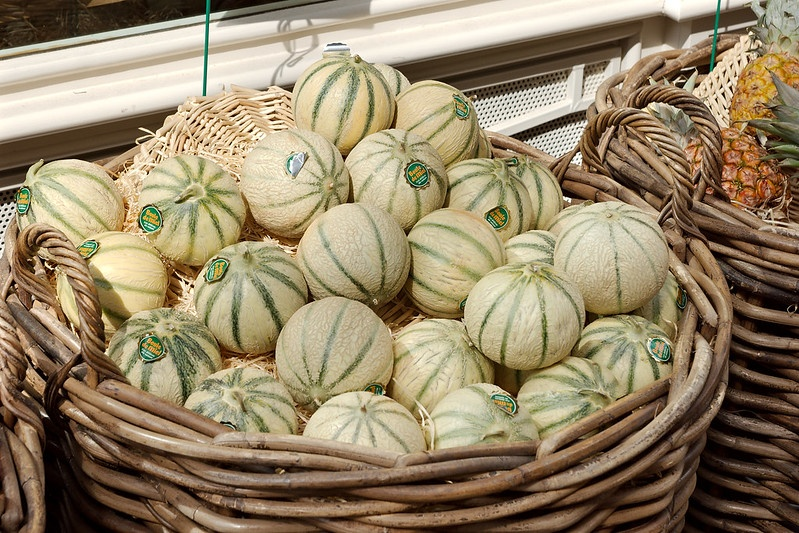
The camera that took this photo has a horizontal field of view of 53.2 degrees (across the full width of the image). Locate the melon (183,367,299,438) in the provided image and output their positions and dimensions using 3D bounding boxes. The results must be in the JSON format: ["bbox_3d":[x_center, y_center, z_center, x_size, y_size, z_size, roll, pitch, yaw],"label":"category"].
[{"bbox_3d":[-0.359,0.318,1.856,0.176,0.183,0.183,12,42,-17],"label":"melon"}]

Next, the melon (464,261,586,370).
[{"bbox_3d":[0.295,0.112,1.972,0.245,0.216,0.264,27,38,35],"label":"melon"}]

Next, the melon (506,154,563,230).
[{"bbox_3d":[0.415,-0.205,2.346,0.158,0.211,0.164,-21,13,-17],"label":"melon"}]

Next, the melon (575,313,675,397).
[{"bbox_3d":[0.580,0.193,2.049,0.233,0.239,0.233,-2,-22,2],"label":"melon"}]

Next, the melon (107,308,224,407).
[{"bbox_3d":[-0.578,0.232,1.984,0.244,0.210,0.143,11,-28,-22],"label":"melon"}]

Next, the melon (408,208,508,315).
[{"bbox_3d":[0.144,-0.009,2.141,0.273,0.297,0.289,-8,17,-31],"label":"melon"}]

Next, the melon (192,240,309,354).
[{"bbox_3d":[-0.369,0.086,2.087,0.258,0.267,0.261,22,-33,8],"label":"melon"}]

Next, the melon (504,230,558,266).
[{"bbox_3d":[0.340,-0.067,2.166,0.150,0.095,0.122,-5,-16,-5],"label":"melon"}]

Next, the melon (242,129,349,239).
[{"bbox_3d":[-0.340,-0.178,2.206,0.259,0.301,0.264,24,11,0],"label":"melon"}]

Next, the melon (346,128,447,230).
[{"bbox_3d":[0.041,-0.222,2.180,0.203,0.234,0.213,-20,-13,-14],"label":"melon"}]

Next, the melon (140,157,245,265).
[{"bbox_3d":[-0.552,-0.144,2.210,0.263,0.277,0.270,3,0,-10],"label":"melon"}]

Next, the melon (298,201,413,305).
[{"bbox_3d":[-0.119,-0.025,2.016,0.213,0.224,0.268,-2,-1,-20],"label":"melon"}]

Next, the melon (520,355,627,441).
[{"bbox_3d":[0.419,0.294,1.963,0.210,0.170,0.164,-20,7,13],"label":"melon"}]

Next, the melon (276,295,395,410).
[{"bbox_3d":[-0.159,0.194,1.918,0.236,0.269,0.266,2,28,-6],"label":"melon"}]

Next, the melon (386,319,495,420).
[{"bbox_3d":[0.076,0.223,2.065,0.218,0.254,0.229,39,2,-1],"label":"melon"}]
